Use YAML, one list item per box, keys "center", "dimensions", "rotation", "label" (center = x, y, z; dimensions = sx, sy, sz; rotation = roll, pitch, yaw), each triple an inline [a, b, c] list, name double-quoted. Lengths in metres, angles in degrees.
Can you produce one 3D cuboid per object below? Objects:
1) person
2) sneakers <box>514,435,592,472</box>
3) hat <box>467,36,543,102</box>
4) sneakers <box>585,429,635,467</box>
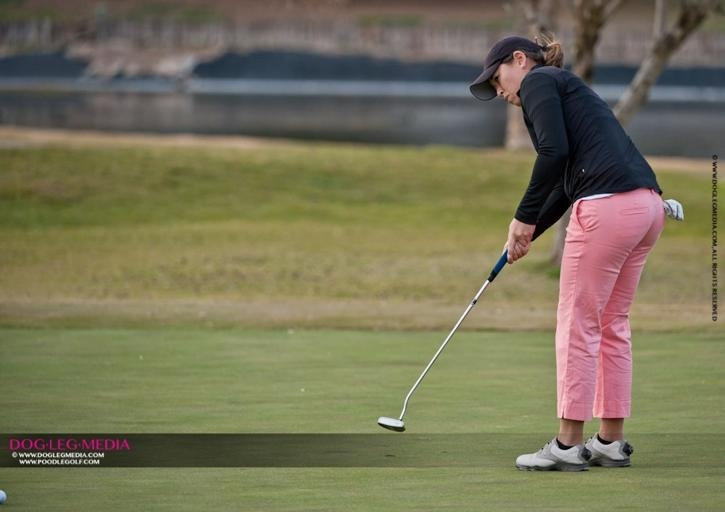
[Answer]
- center: [1.126, -0.051, 12.165]
  dimensions: [1.473, 2.666, 1.180]
  rotation: [2, 9, 11]
  label: "person"
- center: [1.143, 1.264, 12.150]
  dimensions: [0.477, 0.180, 0.182]
  rotation: [1, -3, 1]
  label: "sneakers"
- center: [0.806, -1.216, 12.234]
  dimensions: [0.512, 0.256, 0.320]
  rotation: [-31, 5, 7]
  label: "hat"
- center: [1.502, 1.219, 12.127]
  dimensions: [0.380, 0.188, 0.250]
  rotation: [1, 0, 22]
  label: "sneakers"
